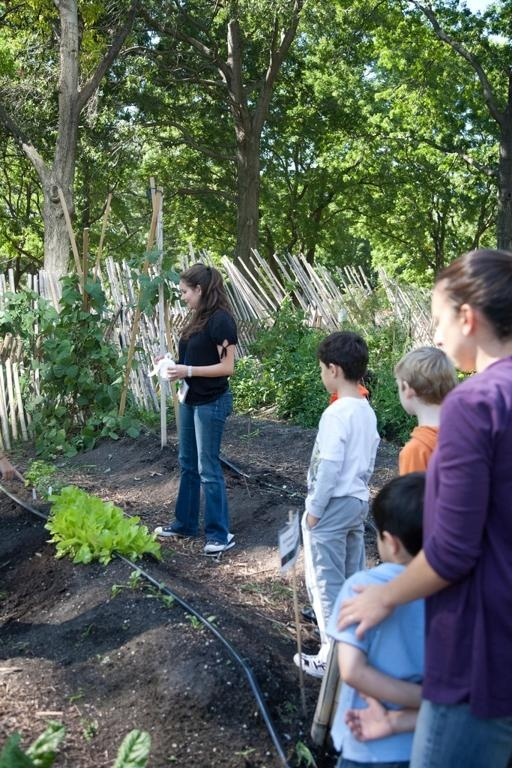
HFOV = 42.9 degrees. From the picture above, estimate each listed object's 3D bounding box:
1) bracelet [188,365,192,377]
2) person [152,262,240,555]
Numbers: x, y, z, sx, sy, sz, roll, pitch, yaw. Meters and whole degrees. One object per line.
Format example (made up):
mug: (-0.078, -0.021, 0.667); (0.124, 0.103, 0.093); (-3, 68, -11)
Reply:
bracelet: (-0.392, -0.069, 3.835); (0.027, 0.060, 0.032); (5, 6, -7)
person: (-0.366, 0.158, 4.028); (0.520, 1.772, 0.465); (1, 7, -37)
